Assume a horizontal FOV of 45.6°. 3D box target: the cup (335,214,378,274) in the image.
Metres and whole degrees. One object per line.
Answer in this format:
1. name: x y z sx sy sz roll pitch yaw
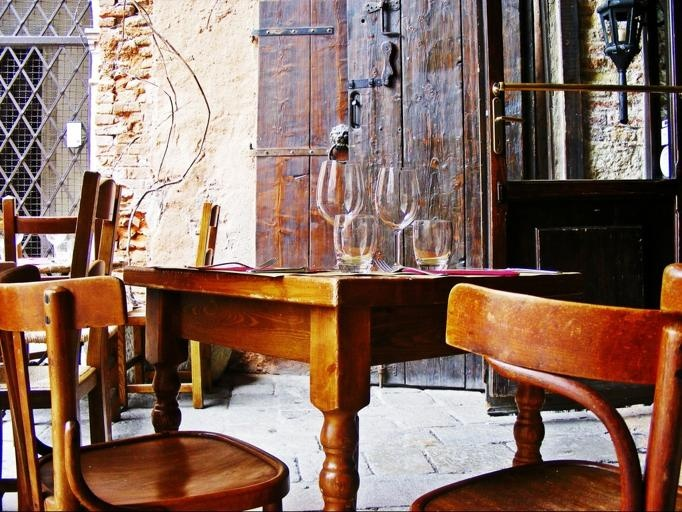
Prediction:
1. cup: 0.044 -0.031 2.435 0.143 0.182 0.143 1 -3 0

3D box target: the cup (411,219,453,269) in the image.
1. cup: 0.287 -0.033 2.536 0.121 0.162 0.129 -3 2 0
